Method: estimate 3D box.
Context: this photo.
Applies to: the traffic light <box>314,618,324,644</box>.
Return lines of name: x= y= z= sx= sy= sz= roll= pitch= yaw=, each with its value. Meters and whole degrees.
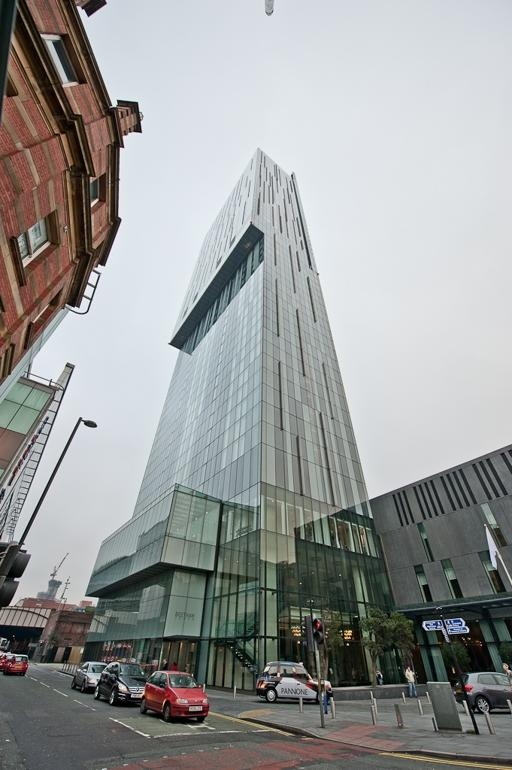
traffic light: x=1.795 y=7.393 z=11.982 sx=0.315 sy=0.717 sz=0.161 roll=2 pitch=-38 yaw=1
